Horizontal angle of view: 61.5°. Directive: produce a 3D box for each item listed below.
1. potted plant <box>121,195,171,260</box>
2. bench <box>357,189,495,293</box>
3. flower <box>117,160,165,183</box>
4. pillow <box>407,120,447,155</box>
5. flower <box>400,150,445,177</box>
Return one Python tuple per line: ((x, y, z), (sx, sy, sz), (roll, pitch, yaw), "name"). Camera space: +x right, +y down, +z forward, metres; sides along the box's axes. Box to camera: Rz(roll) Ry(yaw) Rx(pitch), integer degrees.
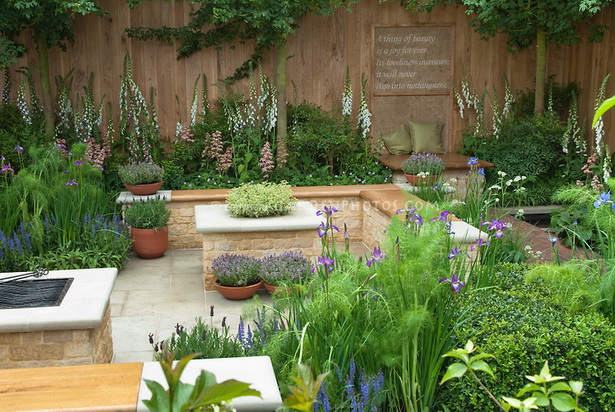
((-1.990, 0.246, 6.785), (0.668, 0.903, 0.650), (-1, 4, -3), "potted plant")
((1.262, 0.216, 5.962), (1.029, 0.975, 3.882), (-1, 5, -1), "bench")
((-2.304, -0.449, 7.251), (0.361, 0.231, 0.388), (-1, 6, -3), "flower")
((2.089, -1.217, 9.167), (0.623, 0.567, 0.253), (-2, 8, -15), "pillow")
((1.792, -0.622, 7.818), (0.488, 0.289, 0.598), (-4, 5, -35), "flower")
